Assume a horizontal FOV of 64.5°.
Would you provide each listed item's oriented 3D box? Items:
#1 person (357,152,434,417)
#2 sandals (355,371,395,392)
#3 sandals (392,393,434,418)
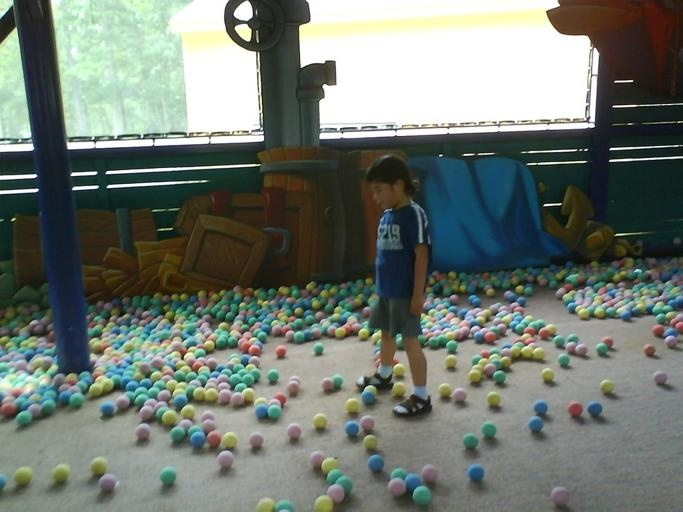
[{"bbox_3d":[0.402,0.200,3.780,0.430,1.778,0.398,-1,11,6],"label":"person"},{"bbox_3d":[0.251,0.956,4.191,0.224,0.114,0.133,3,1,1],"label":"sandals"},{"bbox_3d":[0.504,1.024,3.790,0.255,0.128,0.129,-2,3,-14],"label":"sandals"}]
